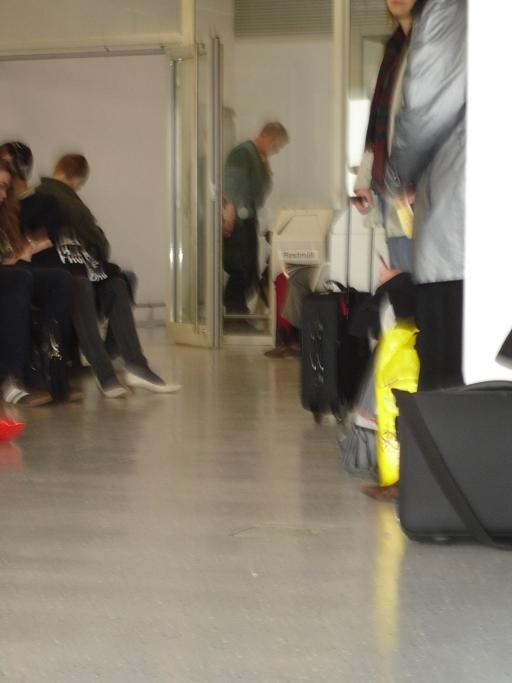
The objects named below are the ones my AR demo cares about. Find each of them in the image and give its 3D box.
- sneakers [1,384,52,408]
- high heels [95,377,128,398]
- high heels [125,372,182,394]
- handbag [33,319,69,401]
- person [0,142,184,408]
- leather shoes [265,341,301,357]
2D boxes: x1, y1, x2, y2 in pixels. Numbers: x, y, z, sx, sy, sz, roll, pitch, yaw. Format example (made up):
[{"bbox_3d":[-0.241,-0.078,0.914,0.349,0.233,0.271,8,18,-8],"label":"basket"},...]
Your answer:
[{"bbox_3d":[-0.899,0.208,2.599,0.205,0.100,0.073,-4,7,16],"label":"sneakers"},{"bbox_3d":[-0.607,0.197,2.752,0.136,0.067,0.112,0,4,1],"label":"high heels"},{"bbox_3d":[-0.460,0.169,2.924,0.276,0.124,0.094,3,4,2],"label":"high heels"},{"bbox_3d":[-0.825,0.073,2.698,0.162,0.302,0.073,-2,5,22],"label":"handbag"},{"bbox_3d":[-0.737,-0.331,2.977,0.674,1.086,0.517,0,3,12],"label":"person"},{"bbox_3d":[0.161,0.055,4.085,0.159,0.070,0.095,-3,11,-8],"label":"leather shoes"}]
